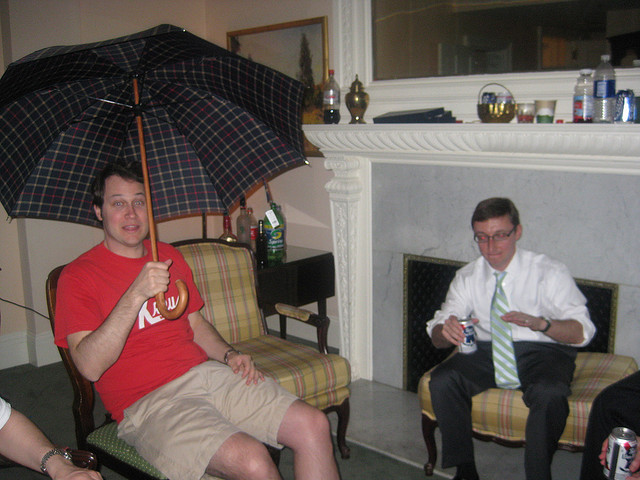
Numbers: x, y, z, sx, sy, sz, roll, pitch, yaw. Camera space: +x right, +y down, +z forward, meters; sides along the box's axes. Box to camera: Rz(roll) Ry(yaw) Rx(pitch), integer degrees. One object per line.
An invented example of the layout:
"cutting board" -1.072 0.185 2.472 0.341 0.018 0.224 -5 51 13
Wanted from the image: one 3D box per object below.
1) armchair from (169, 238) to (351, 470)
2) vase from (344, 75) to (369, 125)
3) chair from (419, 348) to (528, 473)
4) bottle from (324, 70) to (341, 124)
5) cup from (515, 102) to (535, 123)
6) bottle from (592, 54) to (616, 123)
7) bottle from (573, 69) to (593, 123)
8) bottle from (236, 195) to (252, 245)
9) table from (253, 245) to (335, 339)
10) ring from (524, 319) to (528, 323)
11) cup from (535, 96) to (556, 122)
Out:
"armchair" -0.346 0.656 3.384 1.035 1.306 0.509 5 12 42
"vase" 0.260 -0.994 3.848 0.165 0.368 0.365 -1 9 9
"chair" 0.813 0.922 2.954 0.394 0.584 0.447 -2 -2 25
"bottle" 0.092 -1.039 3.963 0.102 0.390 0.255 -1 9 13
"cup" 1.202 -0.756 3.275 0.107 0.127 0.118 -1 -3 0
"bottle" 1.559 -0.843 3.014 0.108 0.387 0.229 2 10 28
"bottle" 1.466 -0.811 3.070 0.095 0.302 0.223 1 10 25
"bottle" -0.623 -0.115 4.524 0.132 0.475 0.137 -5 -21 -2
"table" -0.041 0.494 4.417 0.592 0.588 0.417 -6 -4 22
"ring" 1.076 0.428 2.871 0.006 0.013 0.012 -8 5 0
"cup" 1.314 -0.774 3.203 0.115 0.157 0.198 1 9 21
